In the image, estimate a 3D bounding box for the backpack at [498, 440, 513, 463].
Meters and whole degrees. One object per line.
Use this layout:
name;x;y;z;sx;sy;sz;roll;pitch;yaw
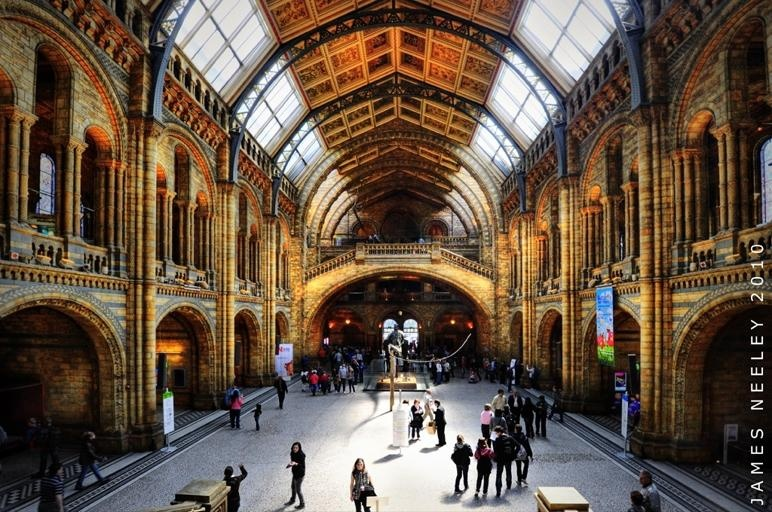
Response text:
backpack;3.833;6.333;19.951;0.507;0.687;0.324;0;-12;-8
